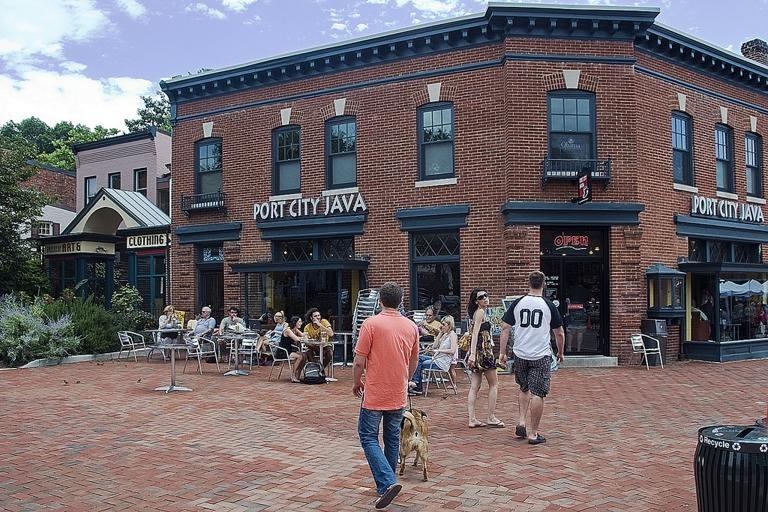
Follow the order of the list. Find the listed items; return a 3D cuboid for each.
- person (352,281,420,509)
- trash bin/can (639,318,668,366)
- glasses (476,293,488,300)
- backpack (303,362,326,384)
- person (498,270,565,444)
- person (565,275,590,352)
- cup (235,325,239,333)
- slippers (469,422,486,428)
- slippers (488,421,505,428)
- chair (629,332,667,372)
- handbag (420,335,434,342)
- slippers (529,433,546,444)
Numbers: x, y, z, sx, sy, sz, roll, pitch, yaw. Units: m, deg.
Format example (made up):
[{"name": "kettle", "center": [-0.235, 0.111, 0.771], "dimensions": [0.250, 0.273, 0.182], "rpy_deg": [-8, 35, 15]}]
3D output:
[{"name": "person", "center": [-0.023, 2.154, 10.922], "dimensions": [0.944, 3.387, 1.199], "rpy_deg": [2, 9, 11]}, {"name": "trash bin/can", "center": [7.727, 2.510, 19.940], "dimensions": [0.751, 1.268, 0.773], "rpy_deg": [2, -2, -27]}, {"name": "glasses", "center": [1.905, 0.760, 13.452], "dimensions": [0.225, 0.166, 0.104], "rpy_deg": [-7, 11, -43]}, {"name": "backpack", "center": [-1.802, 3.024, 17.792], "dimensions": [0.645, 0.562, 0.467], "rpy_deg": [-1, -2, 1]}, {"name": "person", "center": [2.714, 1.845, 12.870], "dimensions": [1.019, 3.073, 0.883], "rpy_deg": [5, 10, 30]}, {"name": "person", "center": [5.519, 1.773, 19.989], "dimensions": [0.598, 2.004, 0.439], "rpy_deg": [2, 9, 10]}, {"name": "cup", "center": [-4.410, 2.190, 20.812], "dimensions": [0.123, 0.165, 0.062], "rpy_deg": [1, -7, 42]}, {"name": "slippers", "center": [1.827, 3.284, 13.485], "dimensions": [0.312, 0.118, 0.128], "rpy_deg": [-2, -1, -9]}, {"name": "slippers", "center": [2.199, 3.284, 13.558], "dimensions": [0.259, 0.100, 0.140], "rpy_deg": [-2, -6, 1]}, {"name": "chair", "center": [7.277, 2.661, 19.353], "dimensions": [0.675, 0.869, 0.668], "rpy_deg": [5, -8, -42]}, {"name": "handbag", "center": [1.130, 2.217, 18.496], "dimensions": [0.281, 0.097, 0.217], "rpy_deg": [-4, -4, 30]}, {"name": "slippers", "center": [2.805, 3.342, 12.666], "dimensions": [0.290, 0.117, 0.156], "rpy_deg": [-1, 0, -35]}]
